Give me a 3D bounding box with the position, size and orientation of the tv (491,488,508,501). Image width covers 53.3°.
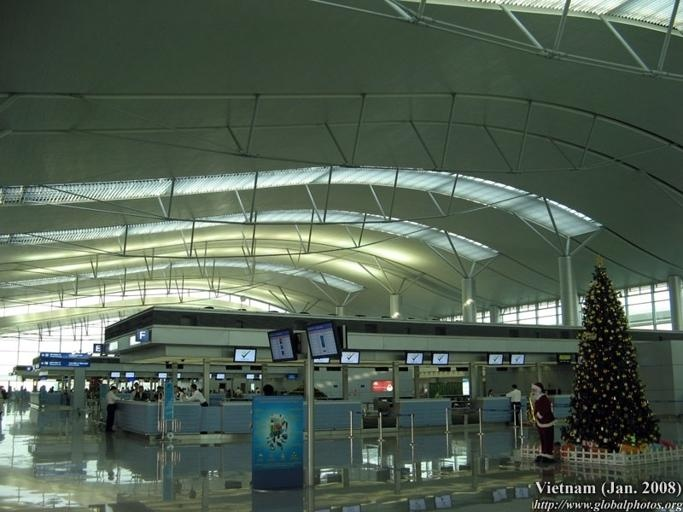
[{"bbox_3d":[3.620,5.359,15.272,0.335,0.063,1.181,-11,-8,12],"label":"tv"}]

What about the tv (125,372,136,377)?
[{"bbox_3d":[-14.601,8.135,46.794,0.592,0.367,1.634,-8,-8,-17],"label":"tv"}]

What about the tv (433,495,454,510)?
[{"bbox_3d":[2.266,5.336,14.785,0.341,0.098,0.932,-10,-8,7],"label":"tv"}]

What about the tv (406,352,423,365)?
[{"bbox_3d":[3.467,4.704,31.479,0.932,0.608,0.304,-6,-12,-29],"label":"tv"}]

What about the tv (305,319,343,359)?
[{"bbox_3d":[-0.418,2.089,17.012,0.297,0.884,1.122,-7,-10,-38],"label":"tv"}]

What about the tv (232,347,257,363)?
[{"bbox_3d":[-4.103,4.108,28.449,0.866,0.469,0.101,2,-13,-19],"label":"tv"}]

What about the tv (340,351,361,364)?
[{"bbox_3d":[0.384,4.482,30.097,0.620,0.588,1.105,-18,-11,35],"label":"tv"}]

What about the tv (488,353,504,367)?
[{"bbox_3d":[7.674,5.026,33.345,0.874,0.464,0.109,6,-6,-29],"label":"tv"}]

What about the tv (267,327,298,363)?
[{"bbox_3d":[-1.520,2.349,17.973,0.257,0.848,1.201,-9,-9,-31],"label":"tv"}]
